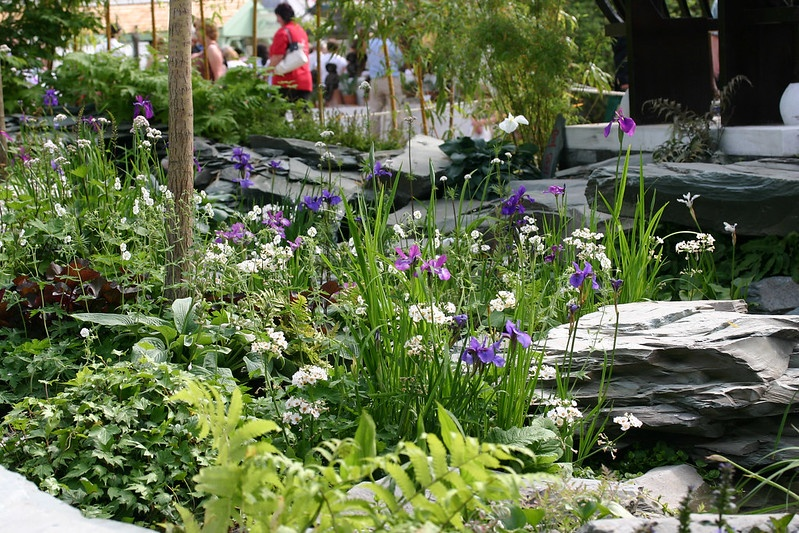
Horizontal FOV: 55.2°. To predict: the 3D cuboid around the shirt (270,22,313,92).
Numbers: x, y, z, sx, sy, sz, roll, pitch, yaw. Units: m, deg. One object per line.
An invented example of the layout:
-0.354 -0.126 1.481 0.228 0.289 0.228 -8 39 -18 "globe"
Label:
-1.281 -2.755 9.605 0.248 0.500 0.367 -10 1 42 "shirt"
